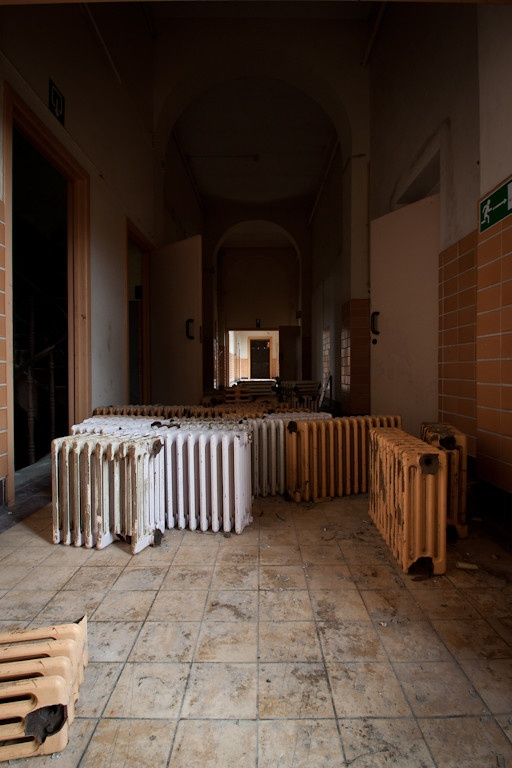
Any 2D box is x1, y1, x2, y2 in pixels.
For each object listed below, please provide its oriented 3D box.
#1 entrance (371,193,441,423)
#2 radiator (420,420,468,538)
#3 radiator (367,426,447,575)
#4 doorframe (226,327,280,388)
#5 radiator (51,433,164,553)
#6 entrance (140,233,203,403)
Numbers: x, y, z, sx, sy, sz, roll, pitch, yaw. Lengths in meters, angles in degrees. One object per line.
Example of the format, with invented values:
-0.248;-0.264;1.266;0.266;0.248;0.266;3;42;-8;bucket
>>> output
1.193;-0.538;4.170;0.138;1.780;1.029;-1;4;-16;entrance
0.741;0.391;2.018;0.091;0.403;0.346;-1;2;3;radiator
0.565;0.430;2.080;0.100;0.438;0.546;0;6;-5;radiator
-0.137;-0.934;16.675;1.301;2.401;0.202;-1;7;-5;doorframe
-0.543;0.491;2.208;0.217;0.415;0.338;-7;-11;8;radiator
-0.811;-0.586;5.076;0.812;1.588;0.190;4;5;45;entrance
